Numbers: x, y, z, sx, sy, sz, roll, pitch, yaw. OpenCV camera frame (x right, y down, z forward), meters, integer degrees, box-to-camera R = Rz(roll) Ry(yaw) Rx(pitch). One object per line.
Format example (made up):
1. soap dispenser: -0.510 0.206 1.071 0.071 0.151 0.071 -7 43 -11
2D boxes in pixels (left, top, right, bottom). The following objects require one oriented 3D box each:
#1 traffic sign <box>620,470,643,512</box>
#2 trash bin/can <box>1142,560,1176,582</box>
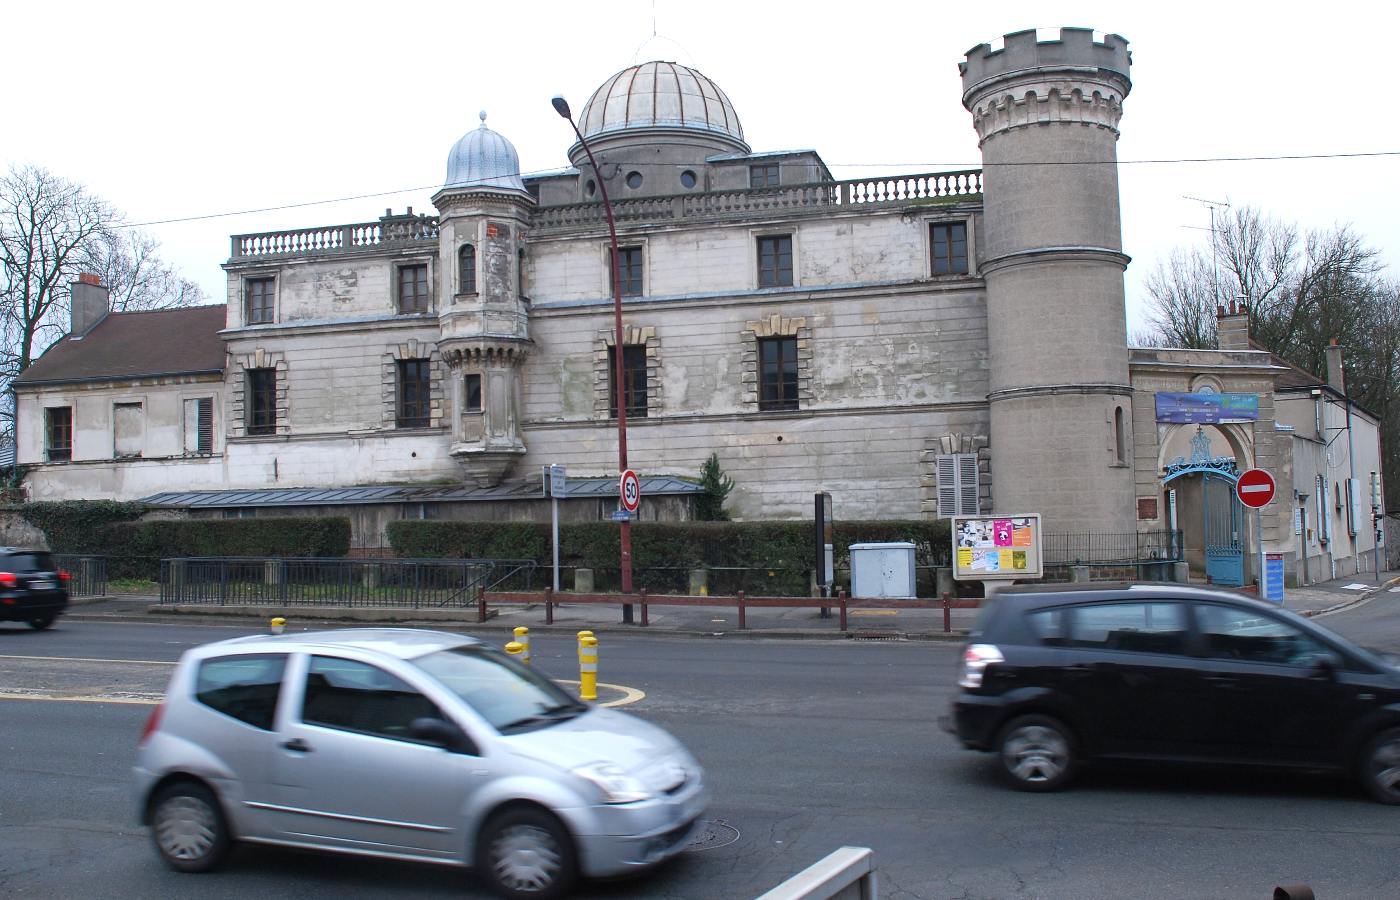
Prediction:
1. traffic sign: -1.983 1.240 50.355 0.203 1.352 1.475 -2 -6 23
2. trash bin/can: 14.162 3.682 54.159 1.152 0.613 0.402 -7 16 -24
